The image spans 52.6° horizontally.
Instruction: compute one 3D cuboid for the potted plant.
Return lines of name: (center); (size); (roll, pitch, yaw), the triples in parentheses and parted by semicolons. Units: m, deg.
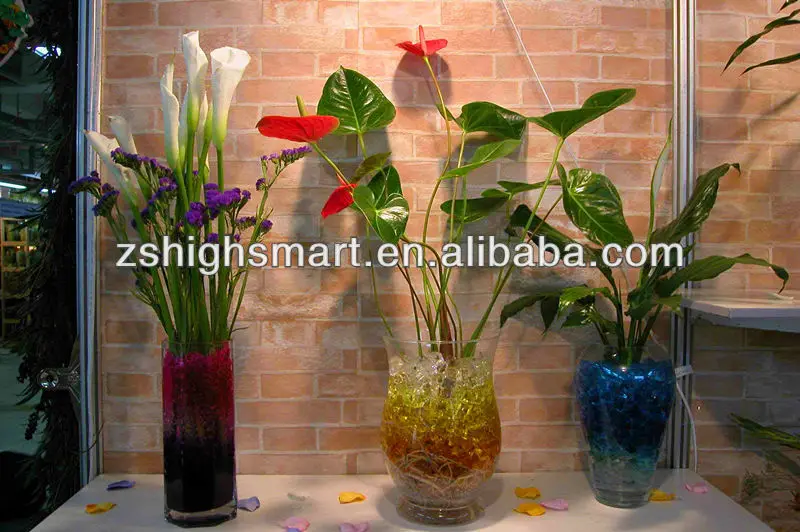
potted plant: (0.631, 0.090, 2.316); (0.694, 1.177, 0.384); (-2, 4, 4)
